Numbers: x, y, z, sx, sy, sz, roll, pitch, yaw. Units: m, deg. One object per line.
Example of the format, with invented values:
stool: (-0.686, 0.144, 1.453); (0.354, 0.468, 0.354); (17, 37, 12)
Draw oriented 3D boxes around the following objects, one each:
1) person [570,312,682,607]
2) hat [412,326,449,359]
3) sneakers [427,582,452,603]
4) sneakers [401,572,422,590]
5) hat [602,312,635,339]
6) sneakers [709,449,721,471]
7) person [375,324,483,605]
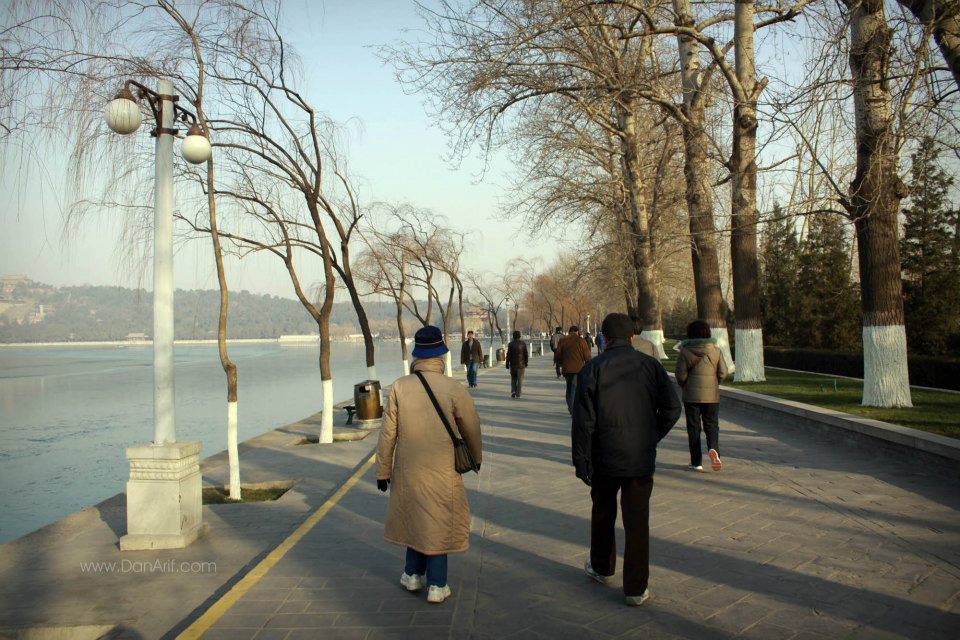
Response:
person: (1.613, 1.495, 8.241); (0.967, 3.113, 0.830); (1, 5, 35)
hat: (-0.582, 0.210, 8.374); (0.332, 0.241, 0.374); (2, 11, 23)
sneakers: (-0.454, 3.018, 8.105); (0.119, 0.140, 0.292); (1, 2, 21)
sneakers: (-0.773, 2.968, 8.243); (0.132, 0.187, 0.260); (3, 6, -18)
hat: (1.620, 0.038, 8.537); (0.250, 0.354, 0.339); (1, 13, 0)
sneakers: (3.827, 2.276, 11.871); (0.135, 0.380, 0.158); (-10, 27, 24)
person: (-0.577, 1.586, 8.232); (1.160, 3.015, 0.665); (-2, 4, -7)
